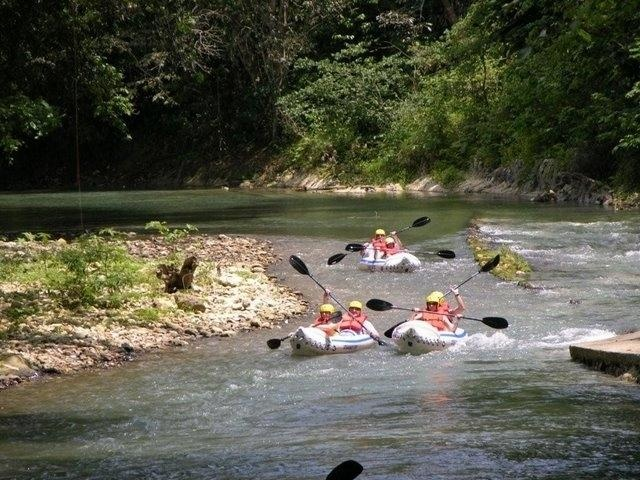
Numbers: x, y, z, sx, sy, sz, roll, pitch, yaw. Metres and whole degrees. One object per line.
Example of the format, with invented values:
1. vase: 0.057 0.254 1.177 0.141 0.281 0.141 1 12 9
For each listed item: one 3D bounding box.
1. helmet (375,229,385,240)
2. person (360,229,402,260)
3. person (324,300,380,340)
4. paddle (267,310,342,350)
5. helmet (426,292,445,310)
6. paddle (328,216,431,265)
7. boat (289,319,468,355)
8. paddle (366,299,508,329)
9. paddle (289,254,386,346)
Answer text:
1. helmet: 1.661 -0.105 25.941 0.247 0.299 0.276 0 54 3
2. person: 1.614 0.201 25.740 0.845 0.430 1.050 -8 -10 -24
3. person: 0.612 1.760 19.102 0.979 0.533 1.368 14 21 8
4. paddle: -0.381 1.856 19.405 0.581 0.255 2.380 1 3 27
5. helmet: 2.413 1.253 19.498 0.304 0.275 0.393 -12 -10 32
6. paddle: 1.817 0.058 28.349 3.682 0.423 0.371 -22 15 -19
7. boat: 1.009 2.031 18.727 2.566 0.400 1.179 -1 -7 -4
8. paddle: 2.504 1.610 20.087 3.806 0.422 0.235 7 -2 -5
9. paddle: 0.384 1.428 21.325 2.753 0.284 0.245 41 35 24
